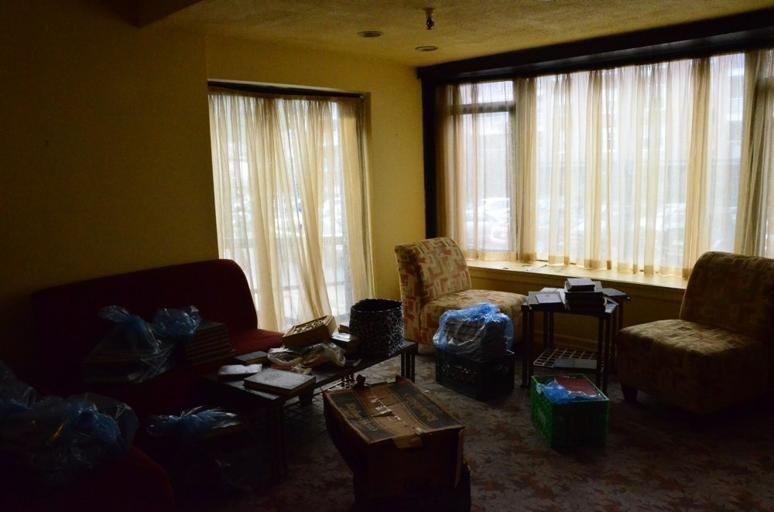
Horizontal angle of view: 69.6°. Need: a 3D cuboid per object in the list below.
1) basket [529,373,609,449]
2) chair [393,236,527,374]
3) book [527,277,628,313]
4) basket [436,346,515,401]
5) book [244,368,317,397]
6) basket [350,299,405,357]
[{"bbox_3d":[1.273,1.092,3.925,0.433,0.383,0.355,-1,11,-3],"label":"basket"},{"bbox_3d":[0.765,0.403,5.482,1.119,1.108,1.104,-1,4,39],"label":"chair"},{"bbox_3d":[1.441,0.285,4.503,0.590,0.216,0.438,2,12,14],"label":"book"},{"bbox_3d":[0.754,0.953,4.508,0.385,0.299,0.539,-1,1,-36],"label":"basket"},{"bbox_3d":[-0.697,0.822,3.617,0.433,0.083,0.226,3,12,17],"label":"book"},{"bbox_3d":[-0.071,0.507,4.139,0.389,0.315,0.392,0,5,-2],"label":"basket"}]
